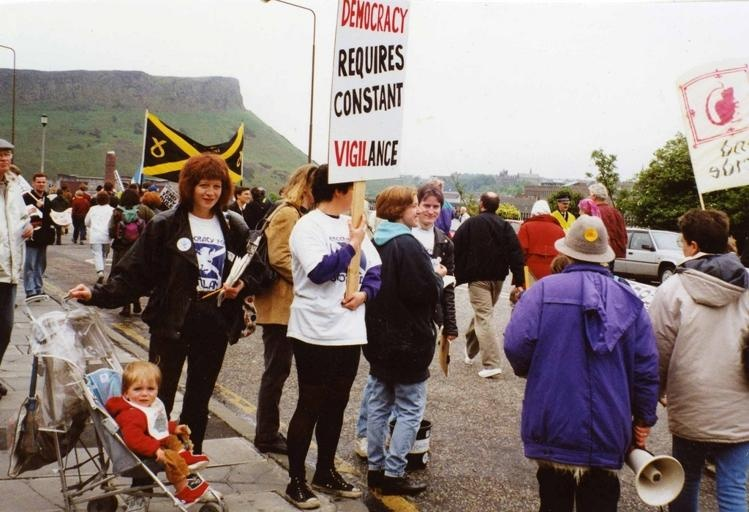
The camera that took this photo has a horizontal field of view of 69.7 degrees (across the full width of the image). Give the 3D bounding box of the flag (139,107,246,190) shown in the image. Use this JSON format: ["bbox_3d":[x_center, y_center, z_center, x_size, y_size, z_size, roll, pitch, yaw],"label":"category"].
[{"bbox_3d":[-3.582,-2.161,10.828,1.944,1.438,0.154,3,-5,-23],"label":"flag"}]

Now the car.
[{"bbox_3d":[9.651,-0.010,19.035,2.041,1.999,3.830,4,2,-24],"label":"car"}]

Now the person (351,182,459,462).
[{"bbox_3d":[0.451,0.531,5.487,0.826,2.638,1.086,0,2,-37],"label":"person"}]

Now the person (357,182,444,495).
[{"bbox_3d":[0.054,0.671,4.636,0.851,2.255,0.841,1,2,-11],"label":"person"}]

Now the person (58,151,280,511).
[{"bbox_3d":[-1.656,0.201,4.260,1.182,2.857,1.075,0,2,-43],"label":"person"}]

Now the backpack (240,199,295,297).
[{"bbox_3d":[-0.901,-0.037,4.381,0.467,0.754,0.323,-2,14,-24],"label":"backpack"}]

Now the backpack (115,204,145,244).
[{"bbox_3d":[-4.413,-0.609,9.685,0.446,0.694,0.669,-3,16,-29],"label":"backpack"}]

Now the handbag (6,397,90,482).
[{"bbox_3d":[-2.161,1.194,3.555,0.478,0.535,0.217,3,4,-2],"label":"handbag"}]

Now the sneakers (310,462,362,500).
[{"bbox_3d":[-0.314,1.795,4.186,0.447,0.210,0.182,2,4,17],"label":"sneakers"}]
